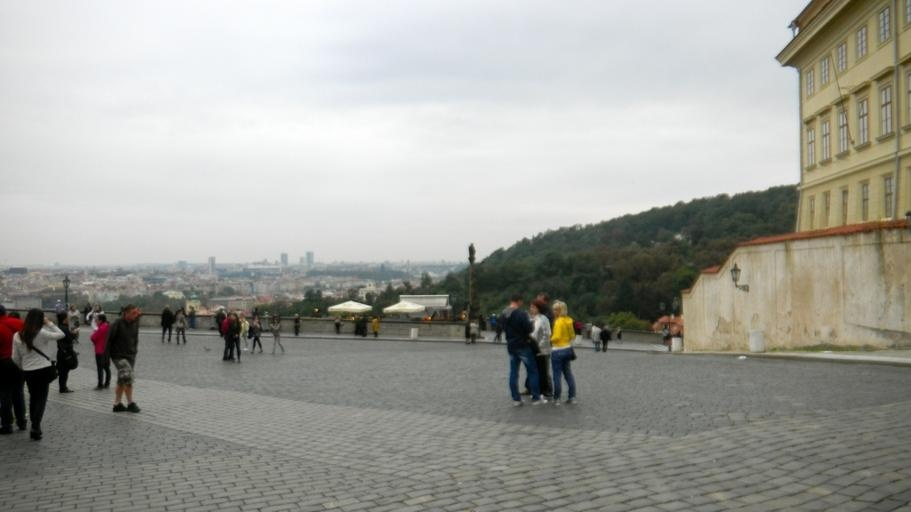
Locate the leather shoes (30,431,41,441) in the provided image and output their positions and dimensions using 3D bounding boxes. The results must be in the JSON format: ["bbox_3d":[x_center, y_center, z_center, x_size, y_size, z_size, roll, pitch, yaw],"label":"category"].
[{"bbox_3d":[-9.701,4.117,16.262,0.261,0.186,0.238,-4,6,-20],"label":"leather shoes"}]

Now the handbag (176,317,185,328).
[{"bbox_3d":[-13.511,3.209,34.510,0.537,0.470,0.277,3,7,8],"label":"handbag"}]

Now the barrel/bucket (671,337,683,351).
[{"bbox_3d":[14.051,5.511,44.619,0.630,0.926,1.442,0,6,13],"label":"barrel/bucket"}]

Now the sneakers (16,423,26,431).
[{"bbox_3d":[-10.442,4.080,16.882,0.218,0.187,0.186,-12,-20,18],"label":"sneakers"}]

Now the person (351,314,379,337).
[{"bbox_3d":[-5.612,4.395,44.881,1.405,1.234,0.881,-3,-12,-1],"label":"person"}]

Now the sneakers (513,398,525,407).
[{"bbox_3d":[1.648,3.864,18.603,0.116,0.110,0.304,0,1,30],"label":"sneakers"}]

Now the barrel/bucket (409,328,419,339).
[{"bbox_3d":[-2.598,4.755,44.015,0.708,0.597,0.477,0,-6,2],"label":"barrel/bucket"}]

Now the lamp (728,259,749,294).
[{"bbox_3d":[14.042,1.038,34.989,0.620,1.311,1.297,-1,6,8],"label":"lamp"}]

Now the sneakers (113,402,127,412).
[{"bbox_3d":[-8.643,3.868,18.098,0.412,0.155,0.178,1,0,-18],"label":"sneakers"}]

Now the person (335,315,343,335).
[{"bbox_3d":[-7.489,4.373,44.944,0.390,1.011,0.758,-2,6,-2],"label":"person"}]
